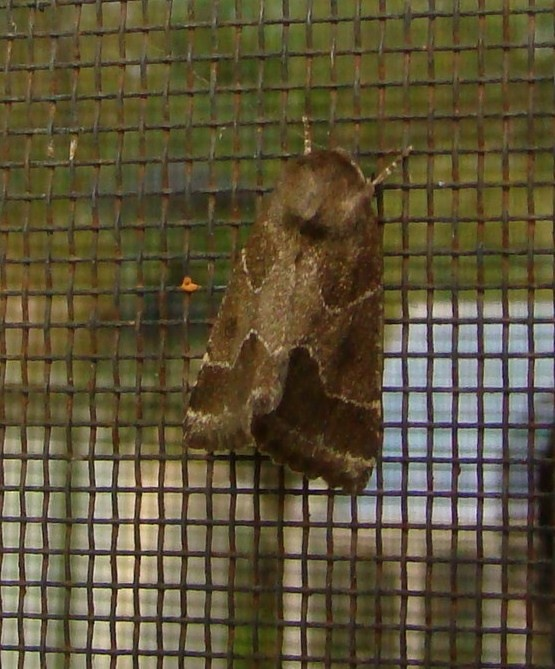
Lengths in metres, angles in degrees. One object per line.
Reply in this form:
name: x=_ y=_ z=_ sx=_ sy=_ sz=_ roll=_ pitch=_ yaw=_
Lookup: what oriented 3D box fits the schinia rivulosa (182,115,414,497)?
schinia rivulosa: x=0.035 y=-0.058 z=4.125 sx=0.414 sy=0.169 sz=0.685 roll=9 pitch=85 yaw=1
